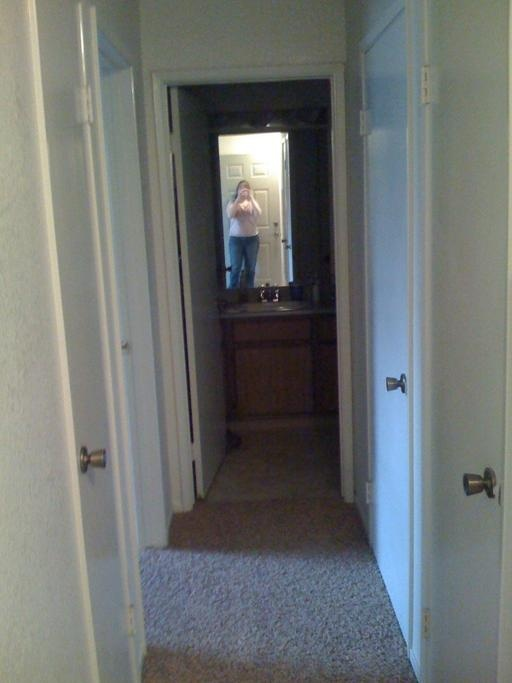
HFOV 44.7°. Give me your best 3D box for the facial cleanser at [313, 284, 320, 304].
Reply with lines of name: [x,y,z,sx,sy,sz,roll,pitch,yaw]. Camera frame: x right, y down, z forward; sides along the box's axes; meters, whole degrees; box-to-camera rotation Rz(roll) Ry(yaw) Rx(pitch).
facial cleanser: [0.433,-0.348,4.487,0.054,0.137,0.125,-1,8,5]
